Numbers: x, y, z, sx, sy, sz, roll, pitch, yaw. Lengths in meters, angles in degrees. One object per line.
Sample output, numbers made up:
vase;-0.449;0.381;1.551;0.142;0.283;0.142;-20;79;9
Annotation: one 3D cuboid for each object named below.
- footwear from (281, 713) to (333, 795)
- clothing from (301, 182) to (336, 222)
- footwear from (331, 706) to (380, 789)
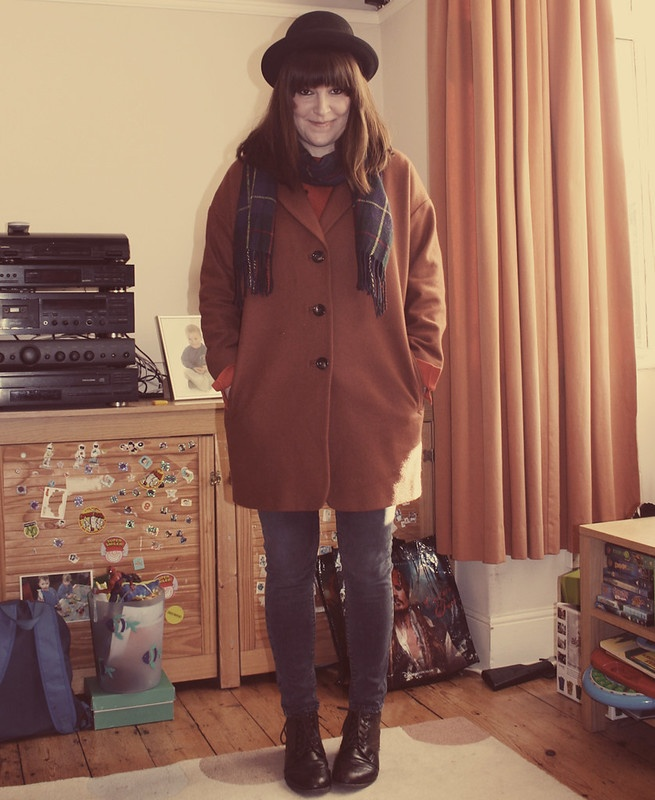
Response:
footwear;-0.041;0.665;1.350;0.061;0.072;0.171;-3;-5;-3
clothing;-0.017;-0.368;1.355;0.066;0.100;0.030;-10;-36;9
footwear;0.063;0.666;1.414;0.059;0.073;0.174;1;-2;11
